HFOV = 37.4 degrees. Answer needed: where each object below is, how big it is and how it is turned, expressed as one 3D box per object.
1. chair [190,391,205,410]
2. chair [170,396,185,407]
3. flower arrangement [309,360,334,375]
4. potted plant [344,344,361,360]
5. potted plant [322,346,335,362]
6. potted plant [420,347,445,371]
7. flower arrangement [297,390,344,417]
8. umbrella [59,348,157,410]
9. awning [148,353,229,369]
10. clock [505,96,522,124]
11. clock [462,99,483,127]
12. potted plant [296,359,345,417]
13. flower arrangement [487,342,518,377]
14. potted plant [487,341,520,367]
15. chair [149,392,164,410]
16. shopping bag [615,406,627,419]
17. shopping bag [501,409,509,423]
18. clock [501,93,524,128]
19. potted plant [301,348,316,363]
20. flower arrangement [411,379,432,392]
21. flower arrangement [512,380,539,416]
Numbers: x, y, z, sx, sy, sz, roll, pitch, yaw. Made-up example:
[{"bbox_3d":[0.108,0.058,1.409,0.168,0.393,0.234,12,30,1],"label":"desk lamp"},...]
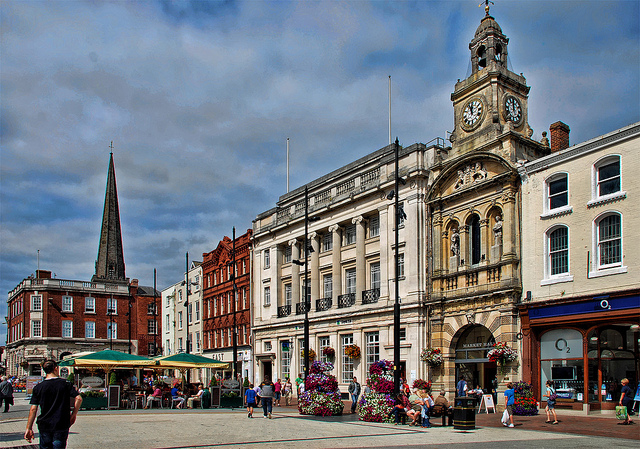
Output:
[{"bbox_3d":[-8.095,11.573,61.985,0.932,1.225,0.893,4,-12,-4],"label":"chair"},{"bbox_3d":[-9.387,11.683,61.541,1.035,0.609,0.698,0,-4,-1],"label":"chair"},{"bbox_3d":[0.002,8.540,56.608,1.196,0.867,1.002,0,-18,-1],"label":"flower arrangement"},{"bbox_3d":[2.275,9.119,67.869,0.847,1.091,1.263,8,-19,-23],"label":"potted plant"},{"bbox_3d":[0.465,9.553,69.765,1.079,1.023,1.035,0,-2,29],"label":"potted plant"},{"bbox_3d":[7.316,8.868,61.888,1.431,1.402,0.792,0,4,27],"label":"potted plant"},{"bbox_3d":[-0.021,10.630,56.094,2.048,0.985,1.549,2,-11,5],"label":"flower arrangement"},{"bbox_3d":[-13.946,8.800,61.515,3.762,2.302,3.857,2,-6,-31],"label":"umbrella"},{"bbox_3d":[-9.052,9.034,63.251,4.541,1.234,2.013,9,-20,-27],"label":"awning"},{"bbox_3d":[12.560,-7.517,62.133,1.721,1.638,0.063,28,-28,-34],"label":"clock"},{"bbox_3d":[10.111,-7.449,62.875,0.133,1.699,1.768,13,-20,-32],"label":"clock"},{"bbox_3d":[-0.043,9.748,56.212,2.476,3.410,1.490,1,-18,-2],"label":"potted plant"},{"bbox_3d":[11.091,8.218,58.012,1.579,1.721,1.654,-5,1,-6],"label":"flower arrangement"},{"bbox_3d":[10.986,7.909,57.994,1.659,1.621,1.679,-1,2,-34],"label":"potted plant"},{"bbox_3d":[-10.652,11.568,61.345,0.835,1.303,0.749,5,-11,-20],"label":"chair"},{"bbox_3d":[16.040,10.023,50.480,0.292,0.636,0.721,10,-20,-28],"label":"shopping bag"},{"bbox_3d":[9.914,10.330,50.949,0.383,0.719,1.131,-3,-18,10],"label":"shopping bag"},{"bbox_3d":[12.457,-7.445,62.020,2.416,2.270,0.130,13,-21,-33],"label":"clock"},{"bbox_3d":[-0.844,9.770,71.004,1.341,0.780,1.335,1,-8,-1],"label":"potted plant"},{"bbox_3d":[6.248,10.220,60.115,0.926,0.555,0.906,-3,-6,19],"label":"flower arrangement"},{"bbox_3d":[11.941,10.273,55.509,1.673,1.867,1.332,-6,-20,12],"label":"flower arrangement"}]
